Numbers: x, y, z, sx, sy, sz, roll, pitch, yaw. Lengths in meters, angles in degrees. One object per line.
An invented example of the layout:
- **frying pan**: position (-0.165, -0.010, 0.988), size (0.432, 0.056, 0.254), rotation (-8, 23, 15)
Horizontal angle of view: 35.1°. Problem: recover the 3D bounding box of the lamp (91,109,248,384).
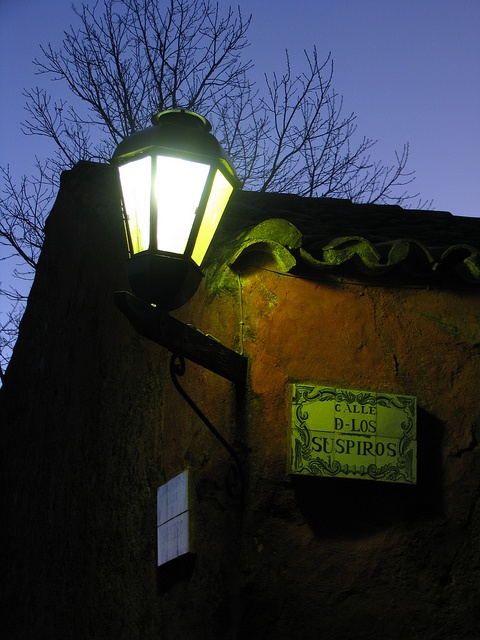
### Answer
- **lamp**: position (-0.201, -0.341, 3.060), size (0.400, 0.953, 0.726), rotation (-12, -25, 24)
